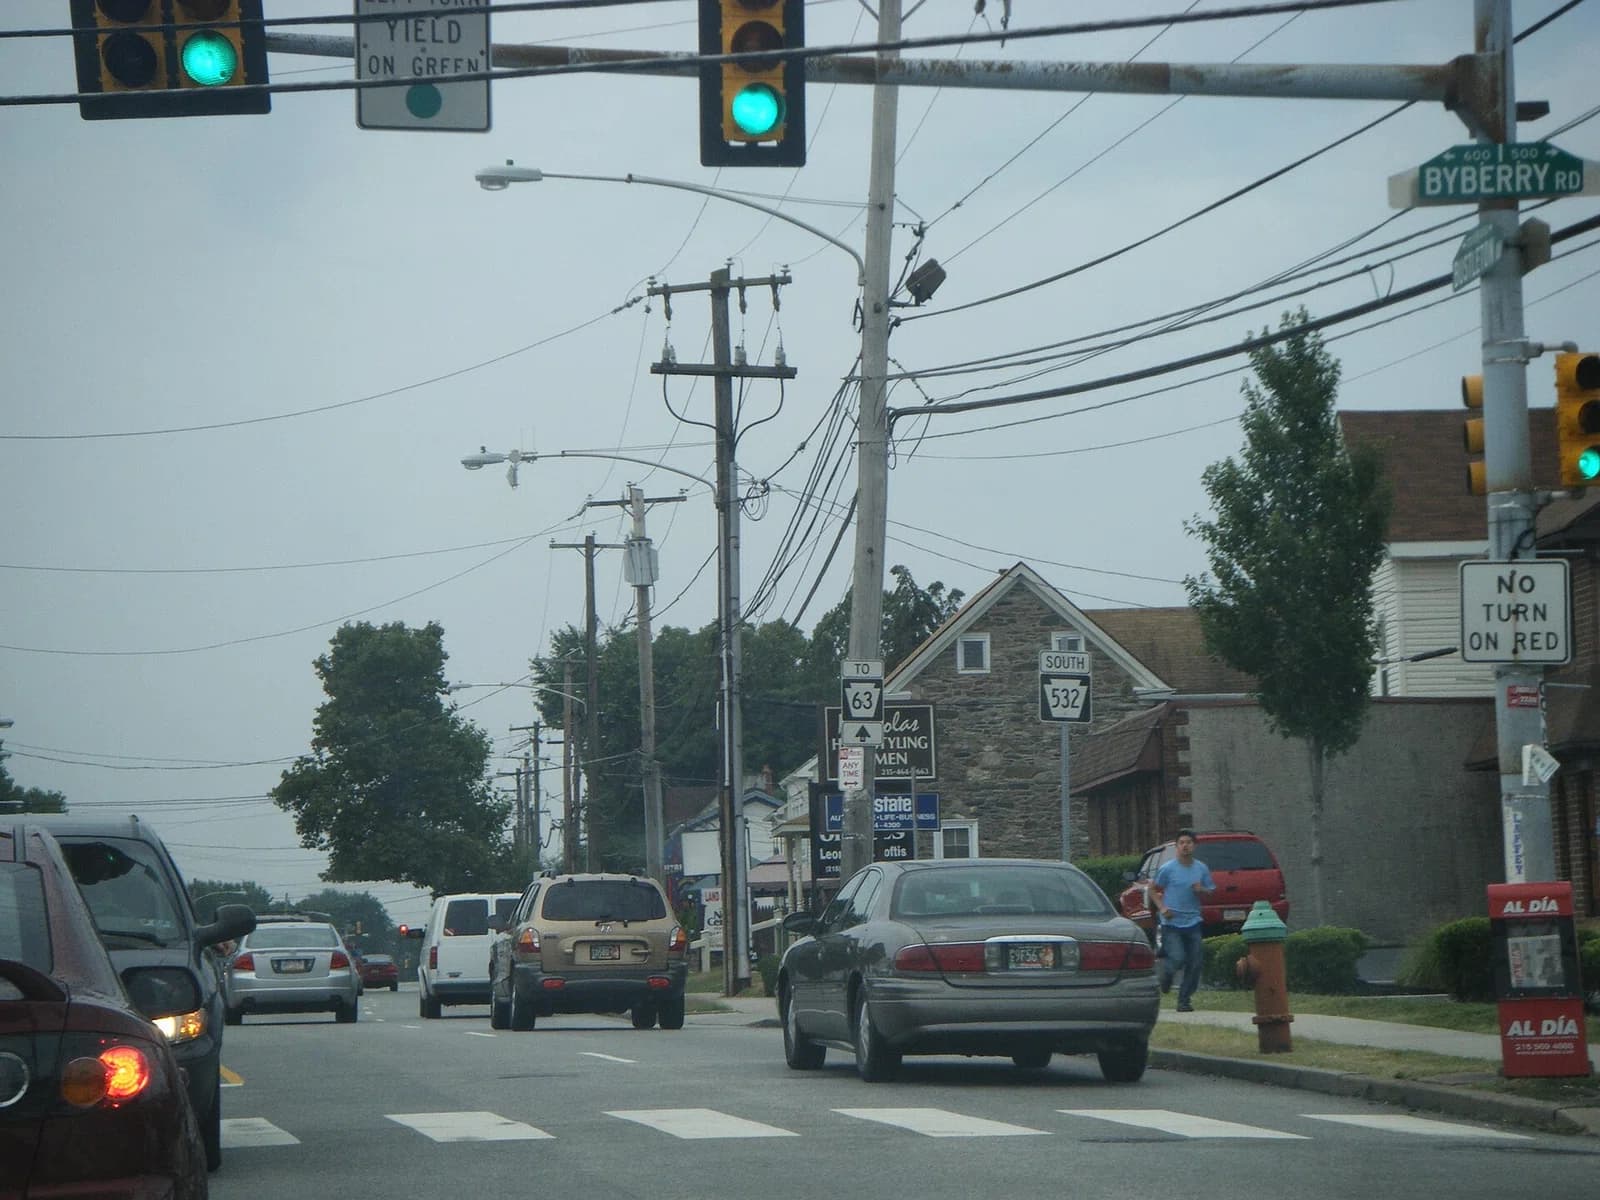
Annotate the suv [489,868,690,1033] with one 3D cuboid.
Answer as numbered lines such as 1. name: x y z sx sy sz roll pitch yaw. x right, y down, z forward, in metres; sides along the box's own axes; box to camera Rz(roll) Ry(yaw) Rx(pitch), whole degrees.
1. suv: -2.676 4.238 38.887 1.886 1.996 3.422 6 -8 -18

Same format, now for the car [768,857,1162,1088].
1. car: 1.442 3.270 29.056 2.356 2.262 4.937 5 -9 -5

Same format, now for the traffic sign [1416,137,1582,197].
1. traffic sign: 5.946 -3.561 27.715 1.397 0.565 0.397 -2 -9 7
